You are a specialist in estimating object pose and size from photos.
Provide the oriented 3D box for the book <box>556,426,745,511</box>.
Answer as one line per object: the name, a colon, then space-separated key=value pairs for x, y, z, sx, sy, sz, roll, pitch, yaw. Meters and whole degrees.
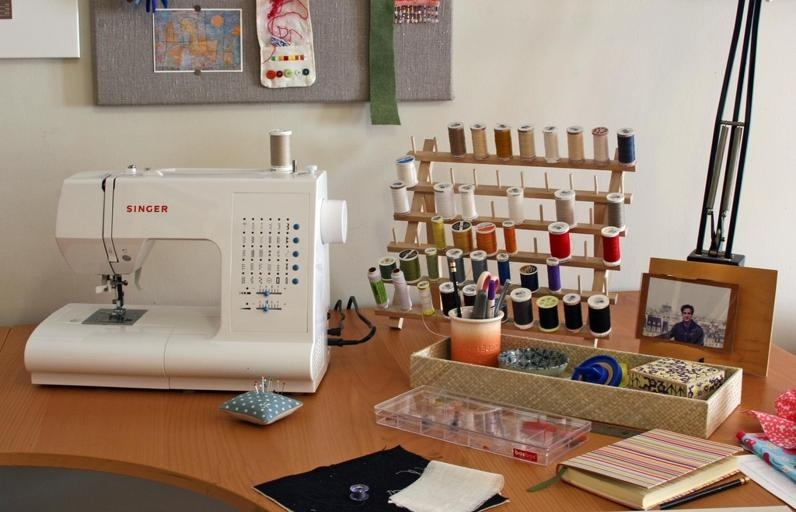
book: x=0.582 y=0.455 z=1.406 sx=0.244 sy=0.040 sz=0.184 roll=-11 pitch=15 yaw=-38

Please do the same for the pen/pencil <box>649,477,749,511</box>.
pen/pencil: x=0.635 y=0.509 z=1.359 sx=0.180 sy=0.024 sz=0.024 roll=-12 pitch=48 yaw=-8

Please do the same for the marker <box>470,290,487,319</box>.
marker: x=0.217 y=0.131 z=1.713 sx=0.037 sy=0.086 sz=0.035 roll=18 pitch=39 yaw=18

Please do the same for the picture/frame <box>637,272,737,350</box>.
picture/frame: x=0.830 y=0.170 z=1.828 sx=0.022 sy=0.225 sz=0.302 roll=7 pitch=0 yaw=-27

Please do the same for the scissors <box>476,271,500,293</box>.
scissors: x=0.238 y=0.067 z=1.709 sx=0.017 sy=0.054 sz=0.057 roll=13 pitch=12 yaw=15
